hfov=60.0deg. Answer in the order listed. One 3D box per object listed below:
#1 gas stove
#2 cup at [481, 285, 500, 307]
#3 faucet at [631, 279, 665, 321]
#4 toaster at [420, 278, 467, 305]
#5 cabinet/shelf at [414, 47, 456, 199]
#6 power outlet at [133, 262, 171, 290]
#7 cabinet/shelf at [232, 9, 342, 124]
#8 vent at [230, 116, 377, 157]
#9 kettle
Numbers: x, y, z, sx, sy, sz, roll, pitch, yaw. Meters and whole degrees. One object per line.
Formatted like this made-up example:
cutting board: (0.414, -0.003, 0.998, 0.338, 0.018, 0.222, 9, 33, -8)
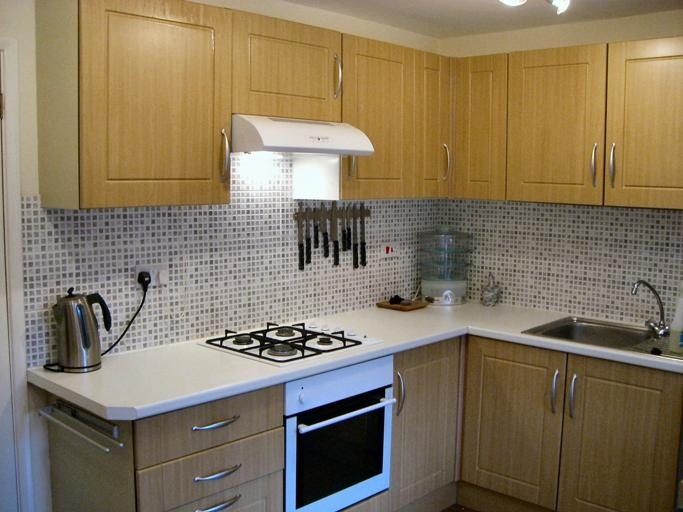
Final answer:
gas stove: (-0.298, 0.418, 3.018, 0.664, 0.083, 0.614, -10, 11, -41)
cup: (0.977, 0.266, 3.957, 0.125, 0.125, 0.128, 6, 0, 0)
faucet: (1.725, 0.251, 3.325, 0.176, 0.263, 0.284, 2, 9, 27)
toaster: (0.682, 0.235, 3.964, 0.190, 0.093, 0.195, 2, 5, 25)
cabinet/shelf: (0.562, -0.758, 3.615, 0.118, 0.850, 0.336, -14, 26, -24)
power outlet: (-0.929, 0.097, 2.865, 0.130, 0.093, 0.018, -4, 9, -42)
cabinet/shelf: (-0.235, -0.973, 3.048, 0.626, 0.466, 0.380, 8, 26, 4)
vent: (-0.178, -0.587, 2.859, 0.687, 0.201, 0.240, -9, 10, -39)
kettle: (-1.170, 0.336, 2.578, 0.272, 0.338, 0.127, -2, 8, 4)
